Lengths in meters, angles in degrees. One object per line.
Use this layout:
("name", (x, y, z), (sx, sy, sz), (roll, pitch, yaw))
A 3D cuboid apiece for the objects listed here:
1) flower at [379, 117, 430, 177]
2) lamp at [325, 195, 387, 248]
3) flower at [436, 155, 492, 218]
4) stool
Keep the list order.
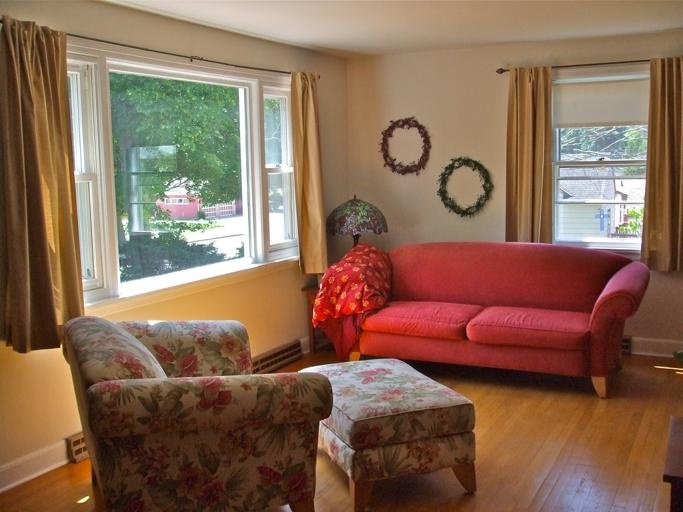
("flower", (0.646, -1.116, 5.499), (0.533, 0.573, 0.108), (3, 12, 29))
("lamp", (0.118, -0.317, 4.887), (0.445, 0.484, 0.437), (-1, 2, 0))
("flower", (1.200, -0.675, 5.305), (0.530, 0.557, 0.150), (3, 6, 25))
("stool", (0.255, 0.901, 2.971), (0.738, 0.505, 1.006), (-1, 1, -22))
